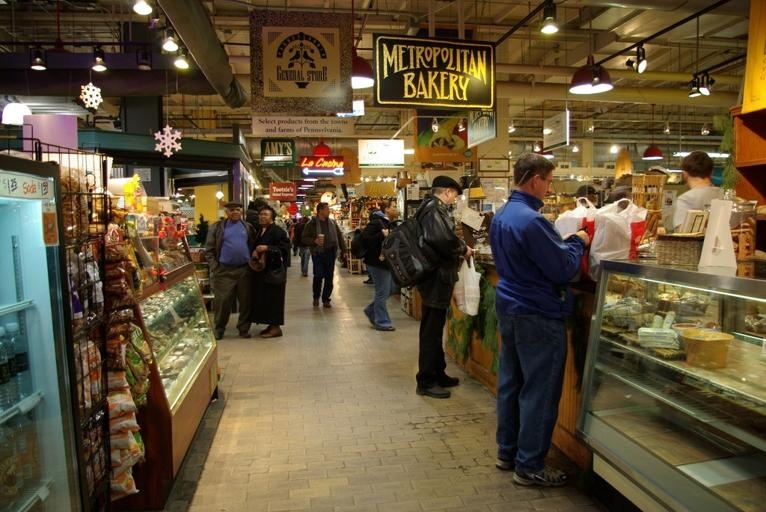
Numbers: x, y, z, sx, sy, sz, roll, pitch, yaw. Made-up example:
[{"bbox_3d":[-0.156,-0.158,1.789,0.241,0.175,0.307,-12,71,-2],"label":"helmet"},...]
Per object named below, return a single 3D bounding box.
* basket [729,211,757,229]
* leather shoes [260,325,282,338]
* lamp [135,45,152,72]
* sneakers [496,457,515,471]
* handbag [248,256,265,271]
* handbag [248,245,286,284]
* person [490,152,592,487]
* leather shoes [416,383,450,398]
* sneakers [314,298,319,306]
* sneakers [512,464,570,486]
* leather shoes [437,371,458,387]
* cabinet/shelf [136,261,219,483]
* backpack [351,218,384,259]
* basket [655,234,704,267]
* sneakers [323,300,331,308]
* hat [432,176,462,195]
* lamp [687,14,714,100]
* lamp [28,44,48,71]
[{"bbox_3d":[2.386,-0.246,3.438,0.135,0.113,0.121,-3,6,-11],"label":"basket"},{"bbox_3d":[-1.622,1.106,7.666,0.372,0.262,0.143,5,-4,-21],"label":"leather shoes"},{"bbox_3d":[-3.807,-3.156,8.257,0.228,0.397,0.728,-5,10,-24],"label":"lamp"},{"bbox_3d":[0.952,1.598,4.038,0.161,0.079,0.063,-1,6,-25],"label":"sneakers"},{"bbox_3d":[-1.776,0.111,7.349,0.210,0.252,0.156,2,9,16],"label":"handbag"},{"bbox_3d":[-1.594,0.132,7.311,0.565,0.575,0.402,10,-7,-15],"label":"handbag"},{"bbox_3d":[1.117,0.459,3.857,0.659,2.405,0.496,3,9,27],"label":"person"},{"bbox_3d":[0.516,1.360,5.332,0.258,0.114,0.138,0,-3,14],"label":"leather shoes"},{"bbox_3d":[-1.286,0.895,9.987,0.092,0.131,0.132,0,-14,-1],"label":"sneakers"},{"bbox_3d":[1.184,1.625,3.907,0.395,0.191,0.149,-1,1,-6],"label":"sneakers"},{"bbox_3d":[0.751,1.322,5.632,0.292,0.138,0.102,0,1,-16],"label":"leather shoes"},{"bbox_3d":[-1.652,0.955,4.125,0.288,0.871,1.467,-9,12,-7],"label":"cabinet/shelf"},{"bbox_3d":[-0.249,-0.303,7.933,0.568,0.592,0.498,13,15,12],"label":"backpack"},{"bbox_3d":[1.927,-0.034,3.363,0.210,0.143,0.215,0,-1,8],"label":"basket"},{"bbox_3d":[-1.070,0.900,9.831,0.100,0.117,0.272,1,-5,-11],"label":"sneakers"},{"bbox_3d":[0.690,-0.763,5.521,0.239,0.096,0.211,7,-1,-10],"label":"hat"},{"bbox_3d":[7.670,-4.459,12.390,0.456,1.576,3.937,4,10,31],"label":"lamp"},{"bbox_3d":[-5.311,-3.051,7.962,0.178,0.328,0.481,-6,11,-32],"label":"lamp"}]
